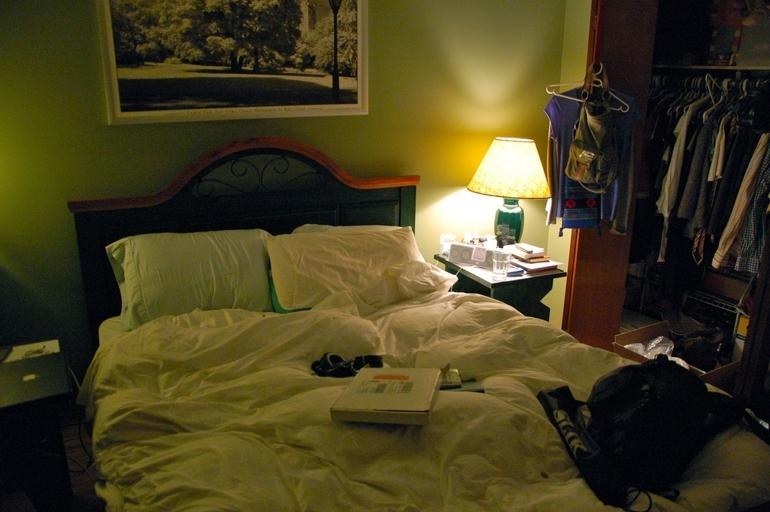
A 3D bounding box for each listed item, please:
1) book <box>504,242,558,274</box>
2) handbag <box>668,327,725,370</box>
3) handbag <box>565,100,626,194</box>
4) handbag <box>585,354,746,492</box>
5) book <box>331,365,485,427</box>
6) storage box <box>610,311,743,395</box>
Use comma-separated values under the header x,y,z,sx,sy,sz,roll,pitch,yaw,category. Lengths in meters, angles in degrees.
x,y,z,sx,sy,sz,roll,pitch,yaw,category
1.005,0.009,3.980,0.236,0.095,0.296,-5,18,-22,book
2.256,0.744,4.208,0.346,0.388,0.132,3,21,-16,handbag
1.458,-0.789,3.969,0.451,0.664,0.367,8,35,8,handbag
1.083,0.692,2.423,0.510,0.212,0.541,-41,67,-20,handbag
0.014,0.602,2.440,0.424,0.096,0.303,-1,22,13,book
1.890,0.684,3.822,0.617,0.362,0.599,-4,23,-22,storage box
